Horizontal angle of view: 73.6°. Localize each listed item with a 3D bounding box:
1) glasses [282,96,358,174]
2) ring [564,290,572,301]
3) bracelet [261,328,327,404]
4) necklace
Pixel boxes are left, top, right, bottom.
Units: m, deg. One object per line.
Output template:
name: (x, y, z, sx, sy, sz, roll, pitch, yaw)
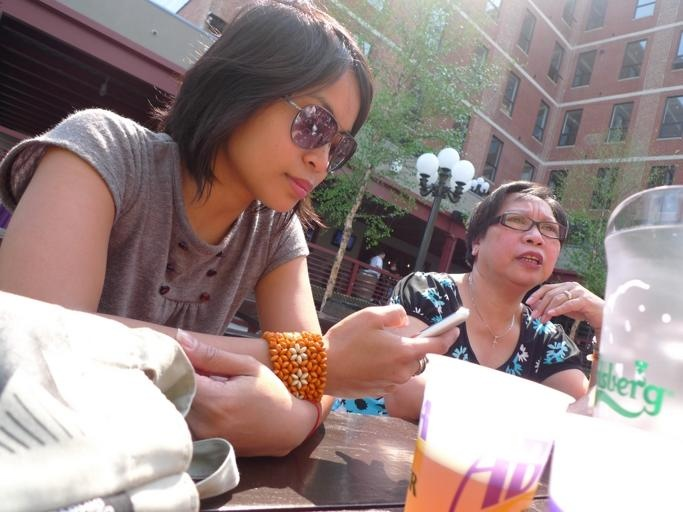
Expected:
glasses: (-0.071, -0.409, 1.501, 0.179, 0.066, 0.185, 35, -5, 23)
ring: (0.977, 0.162, 1.968, 0.033, 0.039, 0.032, 14, -5, 1)
bracelet: (-0.107, 0.254, 1.095, 0.122, 0.116, 0.163, -1, -2, -19)
necklace: (0.692, 0.265, 2.210, 0.186, 0.392, 0.090, 11, -34, -26)
